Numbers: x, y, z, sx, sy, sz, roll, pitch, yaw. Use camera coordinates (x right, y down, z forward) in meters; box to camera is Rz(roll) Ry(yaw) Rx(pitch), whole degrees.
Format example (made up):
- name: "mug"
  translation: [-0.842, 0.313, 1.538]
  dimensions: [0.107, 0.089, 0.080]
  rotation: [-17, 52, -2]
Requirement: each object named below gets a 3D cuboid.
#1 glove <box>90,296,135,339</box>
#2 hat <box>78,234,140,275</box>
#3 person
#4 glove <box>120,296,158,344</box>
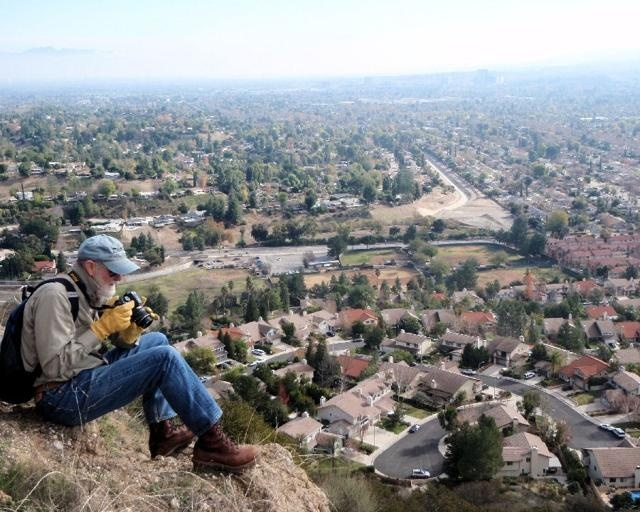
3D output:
- name: "glove"
  translation: [-0.921, 0.295, 2.630]
  dimensions: [0.192, 0.060, 0.142]
  rotation: [-44, 45, -10]
- name: "hat"
  translation: [-1.040, 0.008, 2.726]
  dimensions: [0.265, 0.132, 0.172]
  rotation: [15, -18, -31]
- name: "person"
  translation: [-0.848, 0.483, 2.769]
  dimensions: [1.099, 1.080, 0.566]
  rotation: [-1, -4, -19]
- name: "glove"
  translation: [-0.870, 0.321, 2.720]
  dimensions: [0.213, 0.236, 0.110]
  rotation: [-5, 25, 47]
